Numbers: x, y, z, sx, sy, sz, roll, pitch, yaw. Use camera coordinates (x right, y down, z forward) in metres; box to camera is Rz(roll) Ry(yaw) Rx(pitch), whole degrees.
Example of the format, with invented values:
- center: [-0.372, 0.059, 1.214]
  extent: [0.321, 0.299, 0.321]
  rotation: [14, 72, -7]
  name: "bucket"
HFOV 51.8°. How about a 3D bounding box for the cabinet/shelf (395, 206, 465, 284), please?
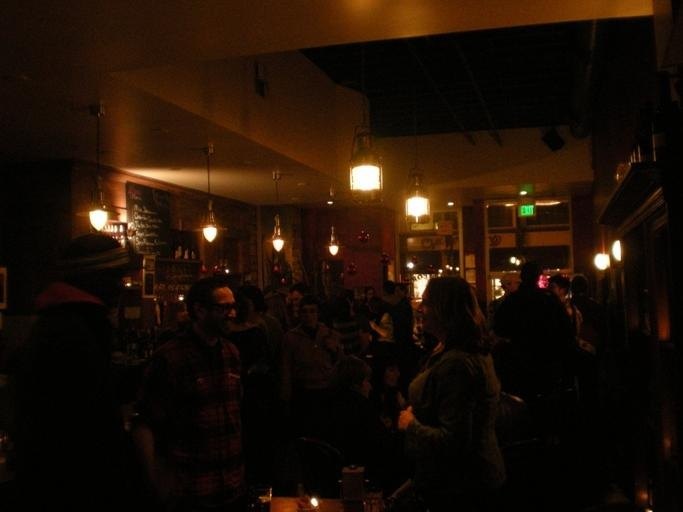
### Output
- center: [1.936, -0.273, 16.143]
  extent: [1.661, 1.742, 0.947]
  rotation: [2, -3, -19]
  name: "cabinet/shelf"
